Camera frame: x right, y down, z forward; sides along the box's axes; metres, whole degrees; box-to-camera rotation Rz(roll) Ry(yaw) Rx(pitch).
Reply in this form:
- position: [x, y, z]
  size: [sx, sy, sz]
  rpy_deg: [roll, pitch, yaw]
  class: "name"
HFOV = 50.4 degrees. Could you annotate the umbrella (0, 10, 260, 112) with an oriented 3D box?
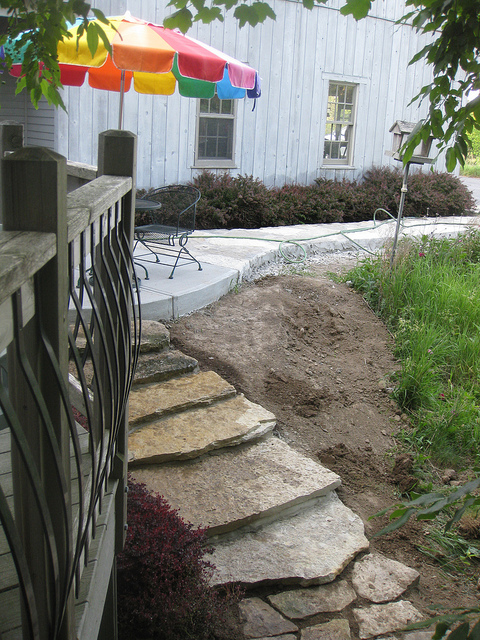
- position: [-0.919, -2.190, 4.384]
  size: [1.994, 0.830, 2.191]
  rpy_deg: [6, 26, 5]
  class: "umbrella"
